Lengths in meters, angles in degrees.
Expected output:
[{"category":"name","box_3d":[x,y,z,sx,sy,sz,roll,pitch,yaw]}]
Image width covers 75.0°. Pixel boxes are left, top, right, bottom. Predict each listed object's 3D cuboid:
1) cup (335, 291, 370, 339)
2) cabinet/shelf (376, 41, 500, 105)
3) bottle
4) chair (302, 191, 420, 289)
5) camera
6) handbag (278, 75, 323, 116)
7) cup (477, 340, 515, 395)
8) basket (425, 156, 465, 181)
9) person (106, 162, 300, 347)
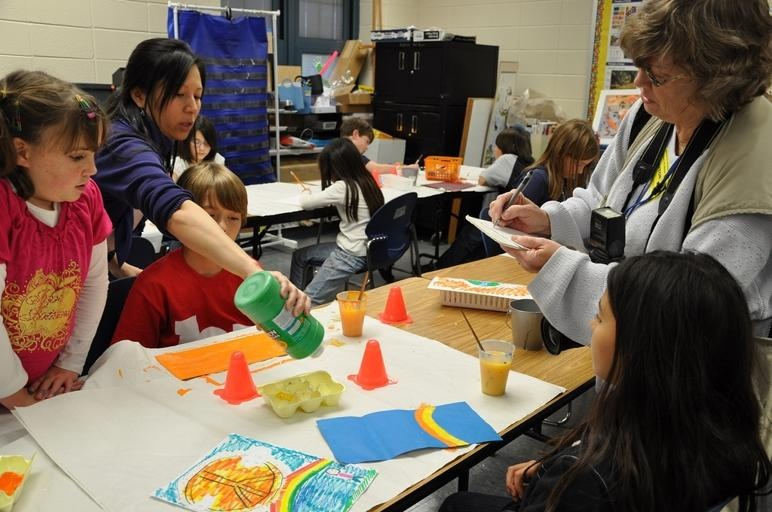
[{"category":"cup","box_3d":[-0.131,0.220,1.837,0.112,0.124,0.114,-1,-2,0]},{"category":"cabinet/shelf","box_3d":[0.602,-2.206,6.153,1.251,0.691,1.235,-14,25,-36]},{"category":"bottle","box_3d":[-0.350,0.193,1.564,0.262,0.114,0.109,40,4,-39]},{"category":"chair","box_3d":[-0.091,-0.127,3.956,0.631,0.862,0.594,14,31,27]},{"category":"camera","box_3d":[0.672,0.094,1.723,0.247,0.494,0.168,-3,11,-15]},{"category":"handbag","box_3d":[-1.006,-1.878,5.890,0.539,0.371,0.467,19,33,38]},{"category":"cup","box_3d":[0.331,0.347,1.548,0.116,0.130,0.114,3,-2,0]},{"category":"basket","box_3d":[0.557,-0.877,5.063,0.320,0.184,0.236,2,14,12]},{"category":"person","box_3d":[-0.773,0.109,2.094,0.731,0.997,0.469,-5,19,-33]}]
